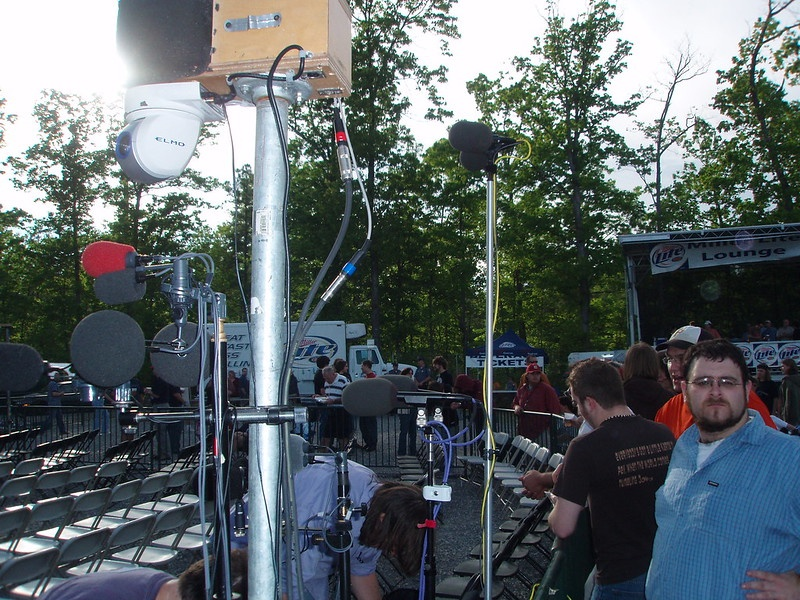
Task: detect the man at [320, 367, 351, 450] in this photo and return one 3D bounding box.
[{"bbox_3d":[-1.095,1.920,15.758,0.545,1.538,0.478,2,-7,29],"label":"man"}]

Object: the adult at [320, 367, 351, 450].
[{"bbox_3d":[-1.110,1.892,15.756,0.519,1.569,0.462,5,2,15],"label":"adult"}]

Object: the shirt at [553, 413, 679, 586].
[{"bbox_3d":[1.811,1.712,8.007,1.457,1.479,0.537,-2,-1,-3],"label":"shirt"}]

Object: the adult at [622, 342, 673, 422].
[{"bbox_3d":[2.368,0.889,9.521,0.566,0.867,0.538,-1,-10,-9],"label":"adult"}]

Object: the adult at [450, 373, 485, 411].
[{"bbox_3d":[1.099,1.617,15.737,0.616,0.328,0.894,3,-13,10],"label":"adult"}]

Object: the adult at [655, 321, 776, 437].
[{"bbox_3d":[2.758,0.900,8.840,0.826,1.361,1.305,3,-4,-38],"label":"adult"}]

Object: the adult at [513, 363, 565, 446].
[{"bbox_3d":[1.993,1.779,14.392,0.879,1.527,0.553,4,3,42],"label":"adult"}]

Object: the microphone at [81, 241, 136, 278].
[{"bbox_3d":[-2.200,-0.303,7.242,0.376,0.288,0.223,2,-4,-17],"label":"microphone"}]

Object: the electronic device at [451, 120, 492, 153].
[{"bbox_3d":[0.588,-1.386,8.009,0.376,0.283,0.273,0,-4,4],"label":"electronic device"}]

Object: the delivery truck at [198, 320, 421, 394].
[{"bbox_3d":[-2.282,1.948,25.643,4.943,2.354,1.505,2,-27,-16],"label":"delivery truck"}]

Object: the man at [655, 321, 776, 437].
[{"bbox_3d":[2.807,0.757,8.997,0.901,1.366,1.376,2,-10,-13],"label":"man"}]

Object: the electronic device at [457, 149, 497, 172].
[{"bbox_3d":[0.624,-1.161,8.185,0.246,0.194,0.372,3,-5,-29],"label":"electronic device"}]

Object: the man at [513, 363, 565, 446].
[{"bbox_3d":[2.024,1.768,14.382,0.914,1.582,0.553,4,3,44],"label":"man"}]

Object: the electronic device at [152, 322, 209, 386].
[{"bbox_3d":[-1.716,0.430,7.346,0.404,0.497,0.556,2,-5,-20],"label":"electronic device"}]

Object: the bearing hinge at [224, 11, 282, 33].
[{"bbox_3d":[-1.085,-2.043,7.060,0.431,0.126,0.047,-7,12,0],"label":"bearing hinge"}]
